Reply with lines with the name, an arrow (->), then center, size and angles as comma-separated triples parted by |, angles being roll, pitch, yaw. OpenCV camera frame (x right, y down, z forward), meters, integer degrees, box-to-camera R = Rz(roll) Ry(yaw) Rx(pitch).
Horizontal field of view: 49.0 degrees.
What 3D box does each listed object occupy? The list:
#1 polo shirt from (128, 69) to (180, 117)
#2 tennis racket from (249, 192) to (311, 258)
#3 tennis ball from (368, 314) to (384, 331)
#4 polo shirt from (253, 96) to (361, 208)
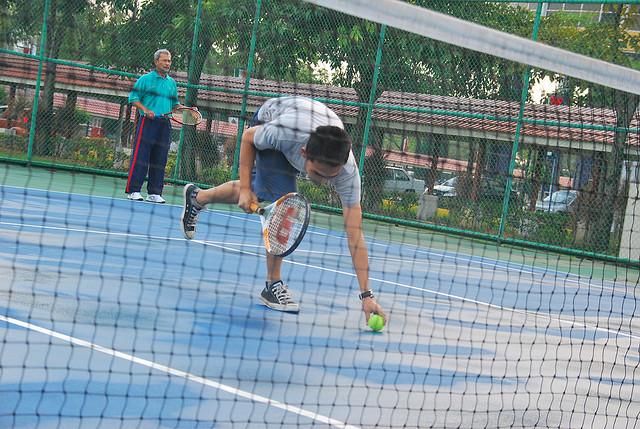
polo shirt -> -2.251, -1.677, 9.727 | 0.739, 0.685, 0.425 | 0, 5, -35
tennis racket -> -0.282, 0.074, 5.558 | 0.155, 0.506, 0.525 | 3, 7, -38
tennis ball -> 0.465, 0.885, 5.871 | 0.127, 0.141, 0.134 | 1, 1, 0
polo shirt -> -0.095, -0.533, 5.767 | 0.930, 0.831, 0.455 | 8, 5, -7
